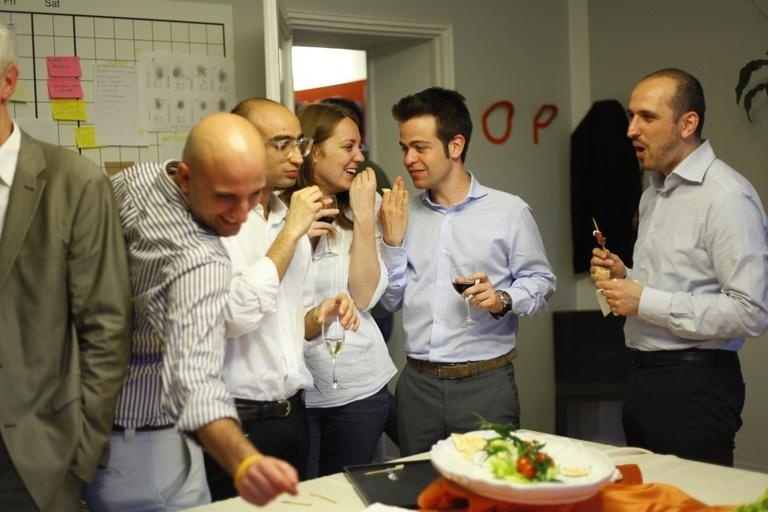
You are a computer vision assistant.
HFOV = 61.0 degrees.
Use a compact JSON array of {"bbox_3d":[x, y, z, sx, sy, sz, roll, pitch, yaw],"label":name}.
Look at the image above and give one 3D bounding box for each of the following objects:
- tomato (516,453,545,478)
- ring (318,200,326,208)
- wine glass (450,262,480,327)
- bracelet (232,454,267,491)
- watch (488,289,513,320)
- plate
[{"bbox_3d":[0.436,0.624,1.917,0.079,0.054,0.048,-2,10,17],"label":"tomato"},{"bbox_3d":[-0.241,-0.201,2.502,0.018,0.021,0.063,16,11,1],"label":"ring"},{"bbox_3d":[0.354,0.179,2.838,0.106,0.247,0.237,-5,9,-2],"label":"wine glass"},{"bbox_3d":[-0.367,0.595,1.801,0.081,0.021,0.081,-18,40,52],"label":"bracelet"},{"bbox_3d":[0.511,0.220,2.811,0.095,0.111,0.057,2,-1,-19],"label":"watch"},{"bbox_3d":[0.407,0.645,1.937,0.288,0.065,0.302,-3,3,-43],"label":"plate"}]
